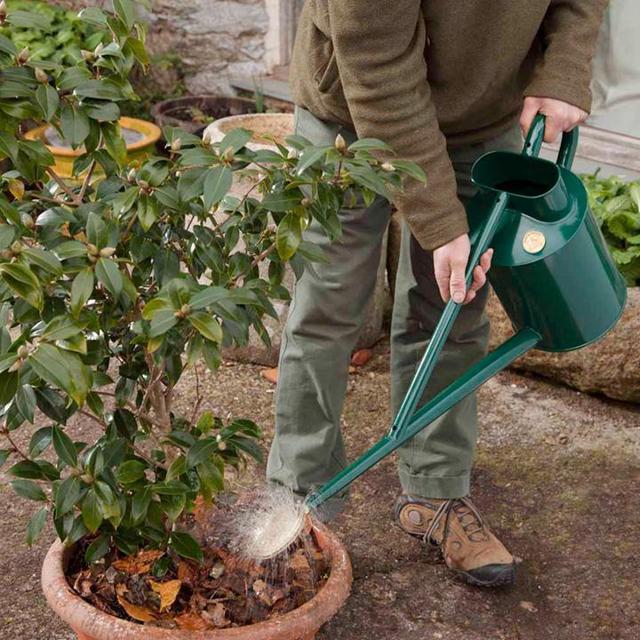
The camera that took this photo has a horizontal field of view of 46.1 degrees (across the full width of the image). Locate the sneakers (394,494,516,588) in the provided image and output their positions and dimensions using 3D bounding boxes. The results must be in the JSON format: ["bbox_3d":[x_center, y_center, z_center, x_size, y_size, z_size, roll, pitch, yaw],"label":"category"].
[{"bbox_3d":[0.403,0.635,2.172,0.404,0.156,0.156,23,38,28],"label":"sneakers"}]
